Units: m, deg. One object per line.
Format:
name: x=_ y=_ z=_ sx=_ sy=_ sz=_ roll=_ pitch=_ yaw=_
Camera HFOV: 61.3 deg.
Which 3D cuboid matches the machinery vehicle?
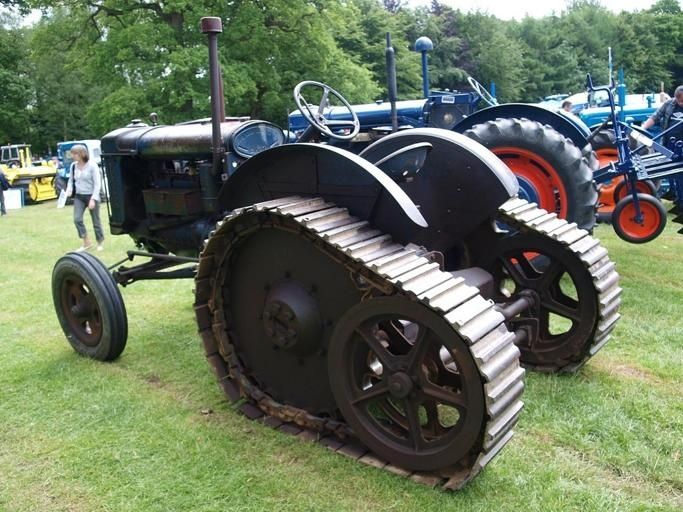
machinery vehicle: x=0.267 y=-0.636 z=5.648 sx=4.593 sy=3.253 sz=4.702 roll=5 pitch=11 yaw=35
